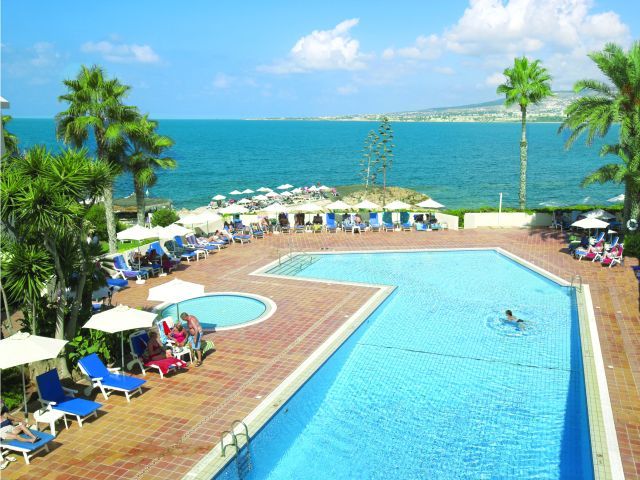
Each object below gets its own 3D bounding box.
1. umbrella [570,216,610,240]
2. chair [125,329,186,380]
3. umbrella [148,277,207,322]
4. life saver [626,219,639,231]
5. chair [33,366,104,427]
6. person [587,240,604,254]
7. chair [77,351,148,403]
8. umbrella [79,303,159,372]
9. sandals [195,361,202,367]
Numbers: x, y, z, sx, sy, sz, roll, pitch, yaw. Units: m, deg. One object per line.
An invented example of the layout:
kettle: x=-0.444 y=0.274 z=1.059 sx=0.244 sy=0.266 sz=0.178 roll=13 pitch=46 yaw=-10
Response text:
umbrella: x=12.449 y=-0.735 z=23.435 sx=1.592 sy=1.005 sz=1.604 roll=7 pitch=13 yaw=31
chair: x=-4.276 y=2.963 z=13.140 sx=1.471 sy=0.850 sz=0.945 roll=17 pitch=20 yaw=29
umbrella: x=-4.144 y=1.706 z=14.831 sx=1.123 sy=0.723 sz=1.062 roll=0 pitch=12 yaw=-2
life saver: x=14.275 y=-0.682 z=23.448 sx=0.522 sy=0.491 sz=0.134 roll=-21 pitch=2 yaw=18
chair: x=-5.327 y=3.358 z=10.871 sx=1.230 sy=0.840 sz=0.737 roll=11 pitch=9 yaw=8
person: x=12.221 y=0.296 z=22.673 sx=0.769 sy=0.525 sz=0.456 roll=-2 pitch=12 yaw=6
chair: x=-4.543 y=3.181 z=11.530 sx=1.240 sy=1.056 sz=1.877 roll=1 pitch=-10 yaw=-26
umbrella: x=-4.843 y=2.380 z=12.730 sx=1.768 sy=1.513 sz=1.619 roll=1 pitch=10 yaw=0
sandals: x=-3.196 y=3.251 z=13.376 sx=0.082 sy=0.086 sz=0.227 roll=4 pitch=14 yaw=-7
